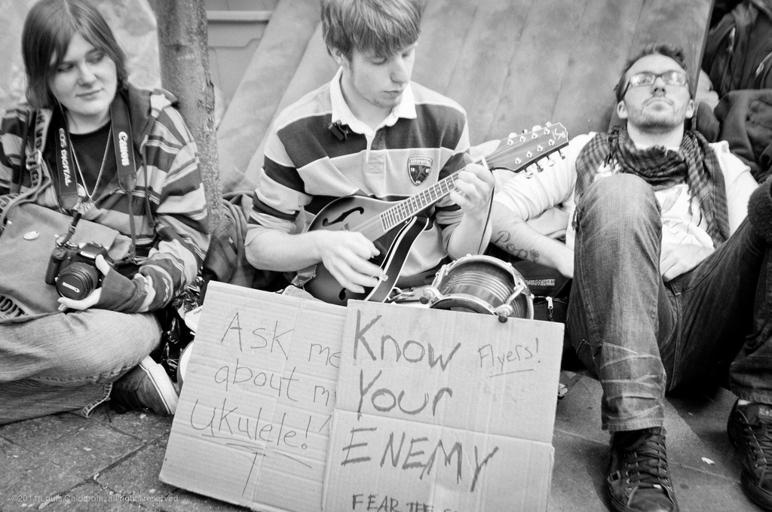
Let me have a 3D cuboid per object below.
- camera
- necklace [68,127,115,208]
[{"bbox_3d":[-1.391,0.062,2.825,0.274,0.230,0.252,42,25,26],"label":"camera"},{"bbox_3d":[-1.415,-0.443,3.009,0.188,0.408,0.094,0,-14,5],"label":"necklace"}]
